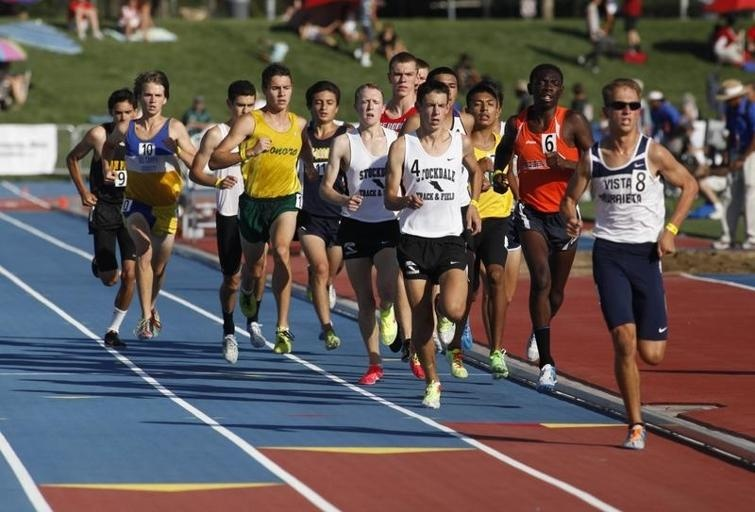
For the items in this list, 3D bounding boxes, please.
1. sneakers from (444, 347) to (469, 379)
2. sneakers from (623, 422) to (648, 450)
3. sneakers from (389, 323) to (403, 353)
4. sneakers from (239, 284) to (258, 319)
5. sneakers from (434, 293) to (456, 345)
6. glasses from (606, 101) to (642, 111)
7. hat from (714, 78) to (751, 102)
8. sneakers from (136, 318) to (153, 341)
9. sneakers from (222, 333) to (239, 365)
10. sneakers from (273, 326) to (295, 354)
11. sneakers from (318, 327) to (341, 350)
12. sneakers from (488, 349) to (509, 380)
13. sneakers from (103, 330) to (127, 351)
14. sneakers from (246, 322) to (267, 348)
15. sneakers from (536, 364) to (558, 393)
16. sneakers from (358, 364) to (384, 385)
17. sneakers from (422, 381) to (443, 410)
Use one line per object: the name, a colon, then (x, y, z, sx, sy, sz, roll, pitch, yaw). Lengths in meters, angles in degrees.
sneakers: (0.756, 1.025, 9.616, 0.153, 0.258, 0.245, -1, 7, -7)
sneakers: (1.998, 1.393, 7.815, 0.111, 0.131, 0.284, -2, 5, 18)
sneakers: (0.182, 0.851, 10.150, 0.112, 0.324, 0.132, 0, -20, 5)
sneakers: (-1.436, 0.497, 11.122, 0.149, 0.357, 0.152, -15, 27, -6)
sneakers: (0.645, 0.662, 9.666, 0.193, 0.596, 0.248, -8, 2, 0)
glasses: (1.932, -1.169, 7.876, 0.250, 0.076, 0.110, 1, 8, 12)
hat: (5.175, -2.412, 14.694, 0.680, 0.252, 0.718, -2, 21, 22)
sneakers: (-2.545, 0.802, 10.999, 0.156, 0.224, 0.096, -11, -8, 33)
sneakers: (-1.504, 0.950, 10.240, 0.122, 0.290, 0.188, -2, 7, -14)
sneakers: (-0.963, 0.865, 10.259, 0.170, 0.275, 0.233, -1, 7, -7)
sneakers: (-0.486, 0.807, 10.133, 0.163, 0.206, 0.456, -4, 9, -7)
sneakers: (1.119, 1.006, 9.321, 0.146, 0.241, 0.306, 0, 8, 4)
sneakers: (-2.934, 0.937, 11.223, 0.133, 0.131, 0.295, -3, 8, -38)
sneakers: (-1.334, 0.847, 10.971, 0.136, 0.173, 0.401, -37, 14, -3)
sneakers: (1.500, 1.071, 8.850, 0.138, 0.146, 0.299, 0, -5, 3)
sneakers: (-0.053, 1.144, 9.697, 0.119, 0.155, 0.319, 1, 1, 30)
sneakers: (0.483, 1.210, 8.934, 0.158, 0.266, 0.372, 0, 8, 5)
